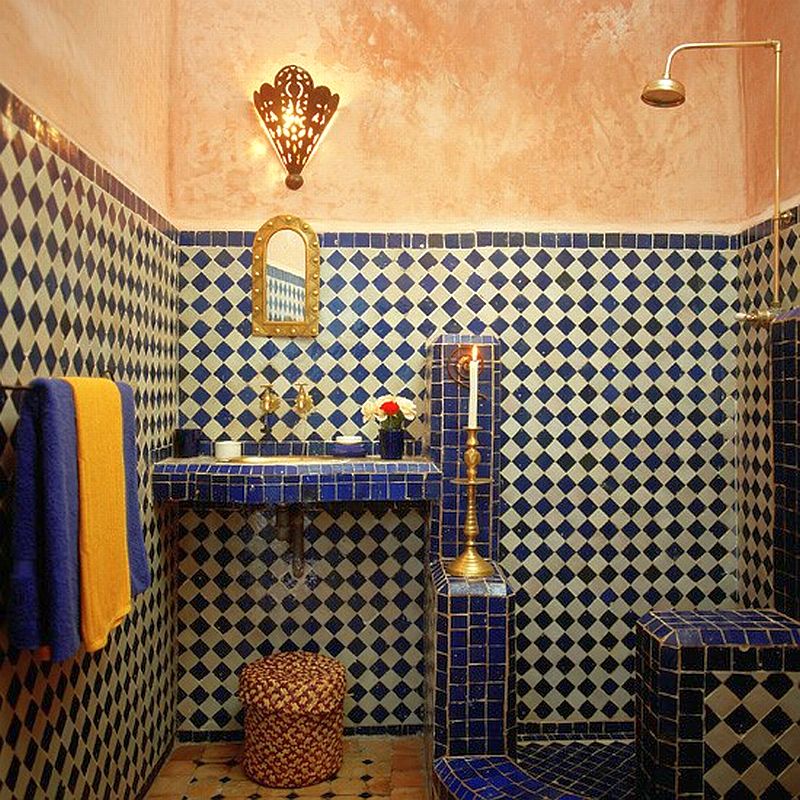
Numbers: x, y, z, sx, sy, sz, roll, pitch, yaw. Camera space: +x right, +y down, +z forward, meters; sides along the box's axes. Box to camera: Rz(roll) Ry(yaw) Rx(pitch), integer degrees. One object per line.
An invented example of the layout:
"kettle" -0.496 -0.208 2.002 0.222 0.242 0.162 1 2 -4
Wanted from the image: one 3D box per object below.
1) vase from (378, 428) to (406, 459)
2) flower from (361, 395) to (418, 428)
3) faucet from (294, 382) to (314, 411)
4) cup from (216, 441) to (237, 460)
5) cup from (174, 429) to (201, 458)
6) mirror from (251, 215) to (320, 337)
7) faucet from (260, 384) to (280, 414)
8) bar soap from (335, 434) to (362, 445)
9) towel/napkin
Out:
"vase" -0.035 0.196 4.115 0.106 0.136 0.166 0 -3 2
"flower" -0.039 0.050 4.147 0.253 0.155 0.296 0 -4 -2
"faucet" -0.426 -0.010 4.185 0.082 0.140 0.121 0 -3 -7
"cup" -0.735 0.219 4.001 0.103 0.082 0.124 1 -4 -13
"cup" -0.942 0.199 4.145 0.097 0.139 0.109 -2 -4 10
"mirror" -0.514 -0.554 4.230 0.302 0.056 0.663 1 -48 -8
"faucet" -0.579 -0.006 4.179 0.094 0.133 0.130 1 -3 -10
"bar soap" -0.225 0.177 4.164 0.111 0.050 0.201 0 -4 -2
"towel/napkin" -0.913 0.339 2.884 0.112 0.809 0.354 0 -3 4
